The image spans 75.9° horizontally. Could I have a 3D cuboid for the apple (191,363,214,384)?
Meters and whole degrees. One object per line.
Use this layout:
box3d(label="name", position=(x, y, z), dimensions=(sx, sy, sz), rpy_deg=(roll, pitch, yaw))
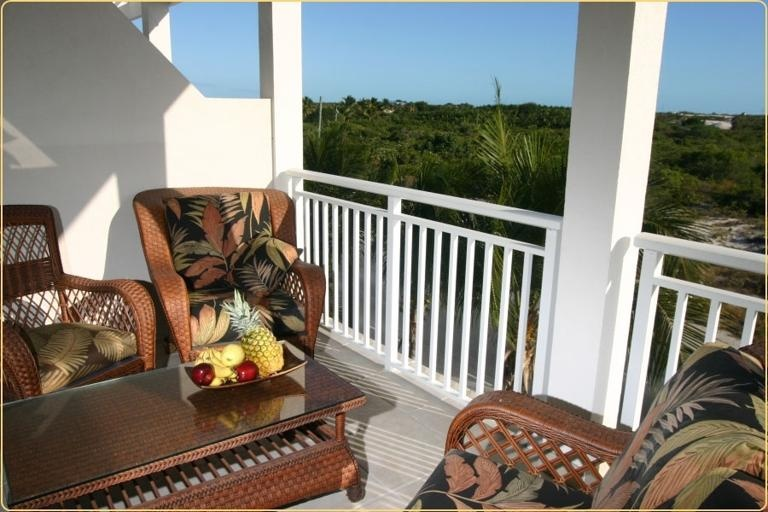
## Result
box3d(label="apple", position=(-0.872, 0.574, 2.438), dimensions=(0.094, 0.095, 0.092), rpy_deg=(-39, -23, 24))

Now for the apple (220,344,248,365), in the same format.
box3d(label="apple", position=(-0.740, 0.487, 2.475), dimensions=(0.101, 0.097, 0.121), rpy_deg=(29, -14, -4))

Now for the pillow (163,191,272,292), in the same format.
box3d(label="pillow", position=(-1.377, -0.053, 3.942), dimensions=(0.773, 0.714, 0.232), rpy_deg=(-4, -10, -21))

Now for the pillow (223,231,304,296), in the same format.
box3d(label="pillow", position=(-0.923, 0.113, 3.598), dimensions=(0.498, 0.496, 0.144), rpy_deg=(-4, 4, -29))

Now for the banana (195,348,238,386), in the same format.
box3d(label="banana", position=(-0.795, 0.524, 2.412), dimensions=(0.192, 0.193, 0.076), rpy_deg=(-8, -5, -4))

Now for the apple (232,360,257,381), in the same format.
box3d(label="apple", position=(-0.688, 0.573, 2.489), dimensions=(0.101, 0.101, 0.095), rpy_deg=(-4, 40, 5))
